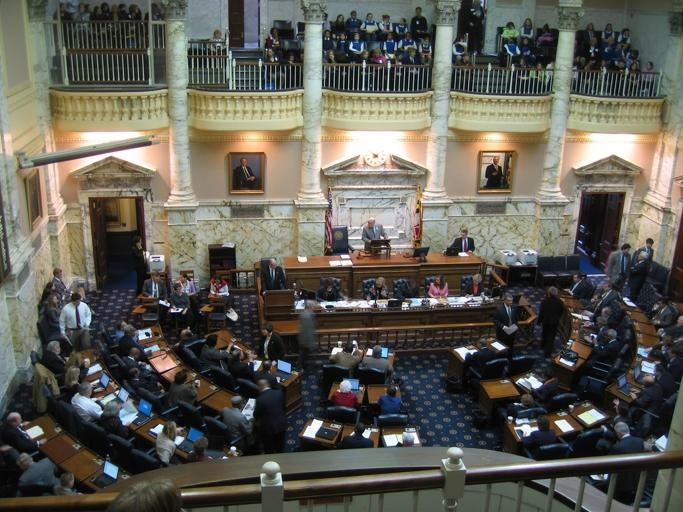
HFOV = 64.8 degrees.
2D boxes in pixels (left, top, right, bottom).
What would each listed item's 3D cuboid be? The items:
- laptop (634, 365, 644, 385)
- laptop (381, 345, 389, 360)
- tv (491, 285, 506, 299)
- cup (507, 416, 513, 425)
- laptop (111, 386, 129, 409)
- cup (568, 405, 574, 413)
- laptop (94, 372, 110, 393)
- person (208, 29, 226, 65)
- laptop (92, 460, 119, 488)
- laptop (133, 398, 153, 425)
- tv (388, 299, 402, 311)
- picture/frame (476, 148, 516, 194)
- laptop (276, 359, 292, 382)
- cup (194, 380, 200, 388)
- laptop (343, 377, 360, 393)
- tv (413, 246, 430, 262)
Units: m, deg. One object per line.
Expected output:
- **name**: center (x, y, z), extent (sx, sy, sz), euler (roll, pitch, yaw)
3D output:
- **laptop**: center (6.181, 2.481, 11.232), extent (0.268, 0.251, 0.389), euler (-2, 13, 27)
- **laptop**: center (0.925, 2.146, 11.855), extent (0.203, 0.277, 0.278), euler (3, 10, 13)
- **tv**: center (4.280, 1.029, 14.599), extent (0.511, 0.394, 0.273), euler (1, 14, -14)
- **cup**: center (3.137, 3.058, 10.004), extent (0.090, 0.110, 0.099), euler (19, 42, 31)
- **laptop**: center (-3.972, 2.608, 9.766), extent (0.321, 0.320, 0.081), euler (12, -16, 3)
- **cup**: center (4.387, 2.936, 10.291), extent (0.088, 0.106, 0.092), euler (1, -5, 0)
- **laptop**: center (-4.648, 2.534, 10.561), extent (0.270, 0.235, 0.167), euler (28, 8, 36)
- **person**: center (-3.711, -6.358, 16.109), extent (0.417, 0.928, 1.439), euler (-3, 15, -12)
- **laptop**: center (-3.578, 3.358, 8.249), extent (0.275, 0.191, 0.283), euler (25, 11, 29)
- **laptop**: center (-3.556, 2.825, 9.669), extent (0.368, 0.279, 0.303), euler (11, 14, 24)
- **tv**: center (1.361, 1.231, 13.667), extent (0.321, 0.236, 0.233), euler (2, 22, -1)
- **picture/frame**: center (4.987, -2.850, 17.547), extent (1.360, 1.631, 0.159), euler (-2, 23, -6)
- **laptop**: center (-1.177, 2.359, 11.171), extent (0.337, 0.302, 0.256), euler (16, -9, 7)
- **cup**: center (-2.807, 2.498, 10.500), extent (0.078, 0.115, 0.109), euler (3, 19, -4)
- **laptop**: center (0.220, 2.559, 10.647), extent (0.325, 0.235, 0.260), euler (8, 10, -9)
- **tv**: center (2.277, -0.077, 15.379), extent (0.579, 0.447, 0.343), euler (-1, 12, -3)
